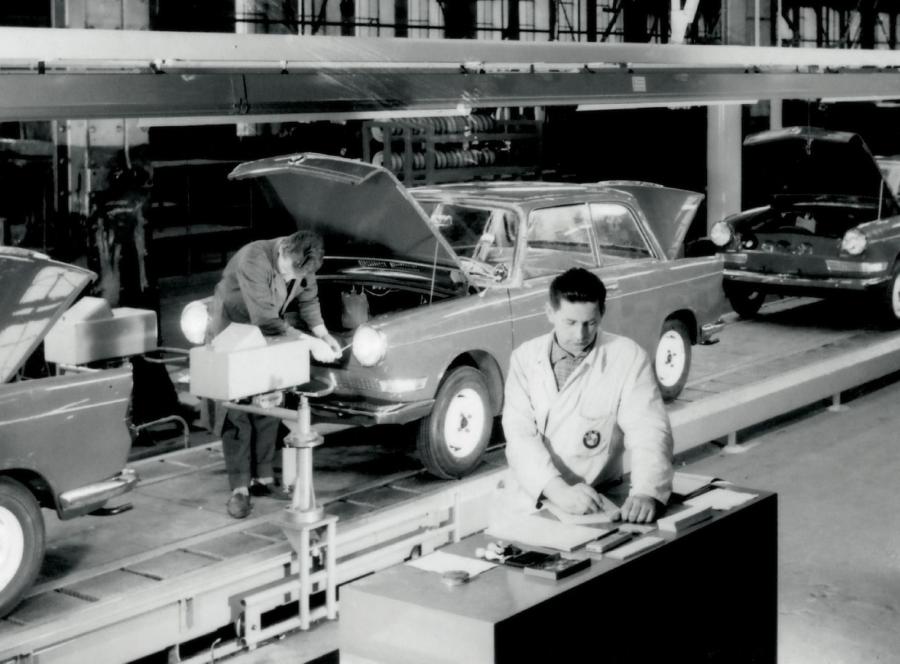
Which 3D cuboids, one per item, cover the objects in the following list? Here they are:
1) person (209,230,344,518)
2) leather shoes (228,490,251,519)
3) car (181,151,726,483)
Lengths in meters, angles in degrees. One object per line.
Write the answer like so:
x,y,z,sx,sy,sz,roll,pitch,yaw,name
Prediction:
-1.125,0.201,8.269,1.012,1.699,0.868,-10,13,-36,person
-1.292,1.053,8.012,0.134,0.137,0.173,-4,12,-13,leather shoes
0.157,-0.391,9.716,1.987,2.012,3.726,5,9,43,car
